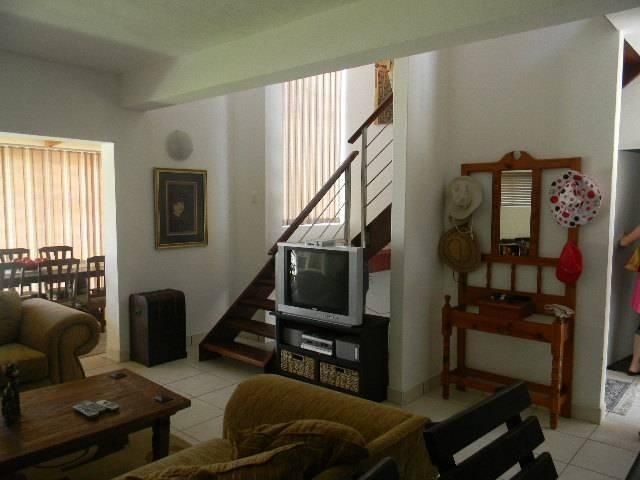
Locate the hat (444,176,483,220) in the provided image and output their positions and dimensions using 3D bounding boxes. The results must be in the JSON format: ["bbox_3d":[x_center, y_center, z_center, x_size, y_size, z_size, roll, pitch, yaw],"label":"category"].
[{"bbox_3d":[1.317,-0.382,4.671,0.100,0.384,0.343,-2,27,-43],"label":"hat"}]

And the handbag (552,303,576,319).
[{"bbox_3d":[2.017,0.598,4.231,0.176,0.107,0.205,0,2,26],"label":"handbag"}]

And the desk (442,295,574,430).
[{"bbox_3d":[1.532,0.946,4.044,0.925,0.900,0.331,7,14,39],"label":"desk"}]

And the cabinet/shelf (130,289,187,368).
[{"bbox_3d":[-1.745,0.942,5.427,0.479,0.870,0.662,10,12,42],"label":"cabinet/shelf"}]

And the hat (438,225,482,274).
[{"bbox_3d":[1.294,0.088,4.742,0.365,0.431,0.119,11,15,37],"label":"hat"}]

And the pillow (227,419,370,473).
[{"bbox_3d":[-0.092,0.970,2.473,0.316,0.132,0.422,-4,5,-45],"label":"pillow"}]

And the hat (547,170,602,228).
[{"bbox_3d":[2.095,-0.339,4.196,0.366,0.466,0.140,1,2,25],"label":"hat"}]

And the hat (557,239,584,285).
[{"bbox_3d":[2.052,0.186,4.210,0.210,0.347,0.182,8,17,30],"label":"hat"}]
